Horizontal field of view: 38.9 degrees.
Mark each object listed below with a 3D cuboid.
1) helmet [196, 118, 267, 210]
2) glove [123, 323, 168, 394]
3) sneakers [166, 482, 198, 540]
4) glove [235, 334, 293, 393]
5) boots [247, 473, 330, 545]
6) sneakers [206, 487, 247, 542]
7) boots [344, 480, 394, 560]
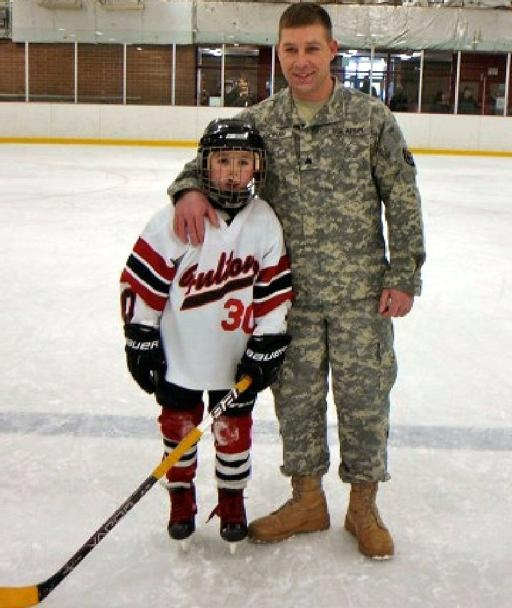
[{"bbox_3d":[-0.056,-0.360,1.806,0.180,0.191,0.221,0,13,-6],"label":"helmet"},{"bbox_3d":[-0.261,0.127,1.775,0.142,0.154,0.073,1,18,6],"label":"glove"},{"bbox_3d":[-0.184,0.512,1.804,0.058,0.139,0.074,-2,-24,-2],"label":"sneakers"},{"bbox_3d":[0.018,0.132,1.740,0.116,0.149,0.063,13,6,-7],"label":"glove"},{"bbox_3d":[0.072,0.530,1.898,0.265,0.152,0.089,-4,3,-30],"label":"boots"},{"bbox_3d":[-0.070,0.509,1.826,0.094,0.075,0.190,-1,20,-6],"label":"sneakers"},{"bbox_3d":[0.290,0.540,1.837,0.090,0.139,0.196,-1,9,-11],"label":"boots"}]
